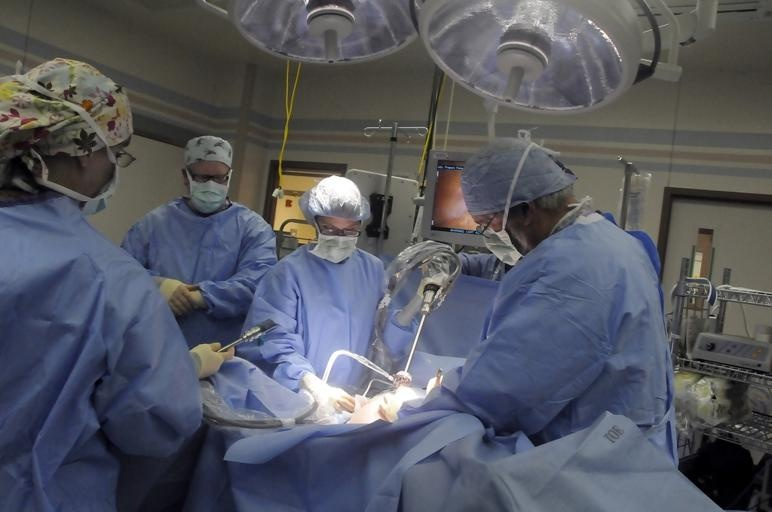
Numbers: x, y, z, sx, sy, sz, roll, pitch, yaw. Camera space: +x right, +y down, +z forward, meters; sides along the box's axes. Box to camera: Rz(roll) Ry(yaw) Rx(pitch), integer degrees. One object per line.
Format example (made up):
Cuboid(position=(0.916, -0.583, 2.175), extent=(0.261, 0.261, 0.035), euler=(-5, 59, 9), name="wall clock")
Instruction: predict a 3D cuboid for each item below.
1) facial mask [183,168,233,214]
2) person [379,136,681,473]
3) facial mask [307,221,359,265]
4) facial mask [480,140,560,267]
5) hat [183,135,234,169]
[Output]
Cuboid(position=(-0.800, -0.304, 2.650), extent=(0.174, 0.186, 0.209), euler=(2, 12, -22), name="facial mask")
Cuboid(position=(0.561, 0.195, 2.213), extent=(0.912, 1.314, 0.882), euler=(-4, -8, 32), name="person")
Cuboid(position=(-0.203, -0.078, 2.315), extent=(0.185, 0.158, 0.228), euler=(6, -18, 4), name="facial mask")
Cuboid(position=(0.404, -0.169, 1.922), extent=(0.131, 0.365, 0.333), euler=(17, 7, 5), name="facial mask")
Cuboid(position=(-0.797, -0.494, 2.645), extent=(0.157, 0.112, 0.158), euler=(-2, -1, -38), name="hat")
